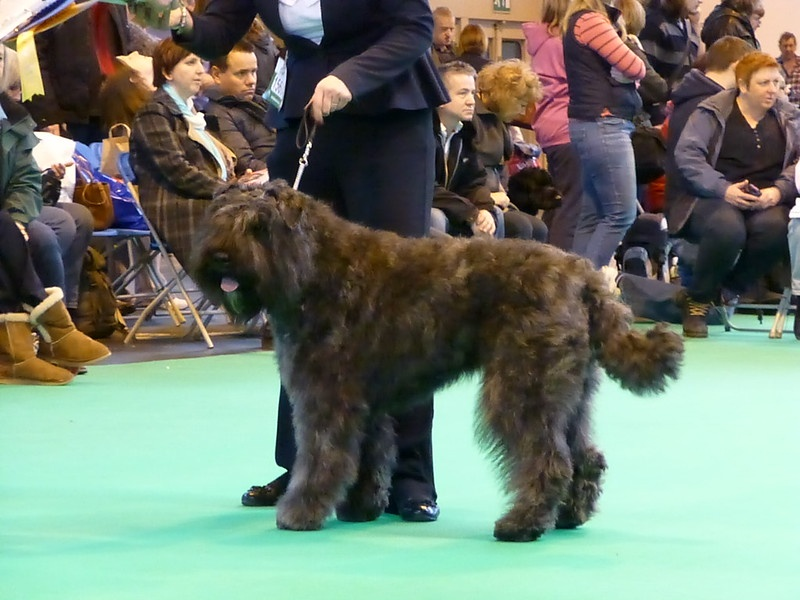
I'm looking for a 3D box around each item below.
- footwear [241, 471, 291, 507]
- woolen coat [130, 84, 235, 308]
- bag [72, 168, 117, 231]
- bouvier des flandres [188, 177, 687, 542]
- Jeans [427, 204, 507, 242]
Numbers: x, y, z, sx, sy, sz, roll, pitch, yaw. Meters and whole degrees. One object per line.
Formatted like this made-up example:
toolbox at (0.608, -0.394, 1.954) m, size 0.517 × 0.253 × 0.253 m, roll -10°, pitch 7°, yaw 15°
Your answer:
footwear at (-0.599, 0.853, 4.157) m, size 0.283 × 0.111 × 0.092 m, roll 3°, pitch -6°, yaw -26°
woolen coat at (-1.807, -1.074, 7.964) m, size 0.971 × 1.496 × 0.996 m, roll 9°, pitch 19°, yaw 9°
bag at (-2.691, -0.869, 8.008) m, size 0.549 × 0.508 × 0.283 m, roll 11°, pitch 20°, yaw 22°
bouvier des flandres at (0.159, 0.274, 3.902) m, size 1.981 × 1.326 × 0.692 m, roll 4°, pitch 3°, yaw 12°
Jeans at (0.540, -0.609, 7.372) m, size 0.572 × 0.207 × 0.585 m, roll -1°, pitch -3°, yaw 26°
